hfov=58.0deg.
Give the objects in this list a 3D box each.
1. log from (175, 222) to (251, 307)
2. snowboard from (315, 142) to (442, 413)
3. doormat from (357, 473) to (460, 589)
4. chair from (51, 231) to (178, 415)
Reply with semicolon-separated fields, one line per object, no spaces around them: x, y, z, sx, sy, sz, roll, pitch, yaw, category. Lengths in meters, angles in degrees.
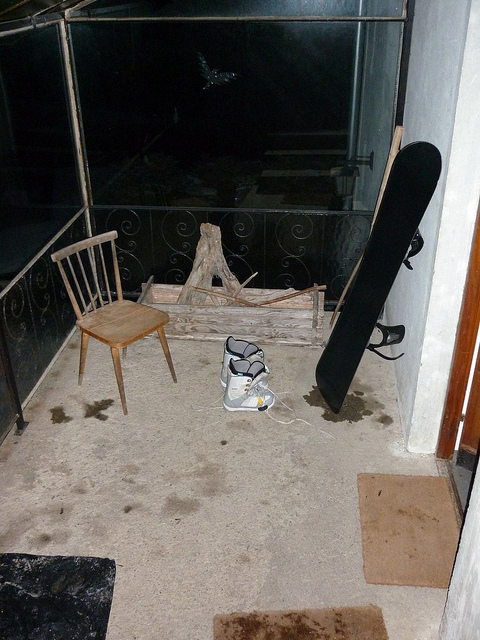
-0.232;-0.458;3.341;0.567;0.638;0.412;-5;42;-9;log
0.664;-0.119;2.241;0.240;1.443;0.335;25;45;14;snowboard
0.707;0.857;1.838;0.402;0.702;0.008;-11;23;16;doormat
-0.743;0.011;2.640;0.583;1.006;0.571;-14;23;-39;chair
